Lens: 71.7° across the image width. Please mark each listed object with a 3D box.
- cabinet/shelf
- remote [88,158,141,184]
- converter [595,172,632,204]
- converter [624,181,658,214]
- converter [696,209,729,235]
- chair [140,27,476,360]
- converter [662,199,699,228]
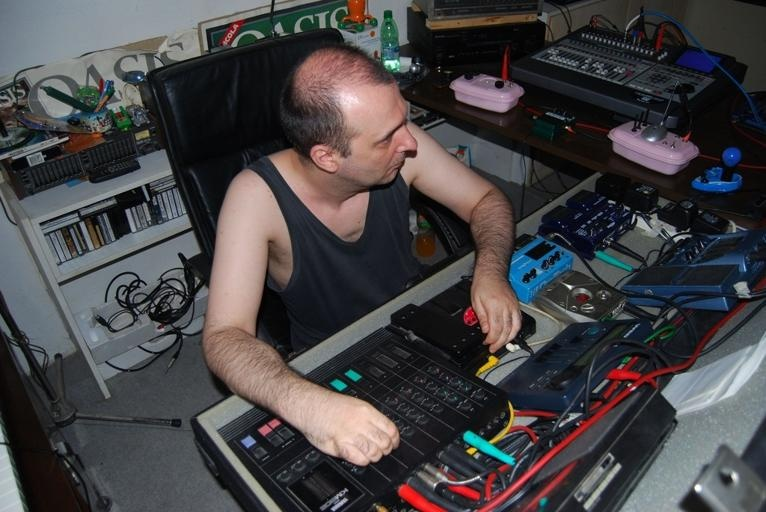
[{"bbox_3d":[-1.467,-0.052,2.794,1.099,1.068,0.551,-17,38,-30],"label":"cabinet/shelf"},{"bbox_3d":[-1.159,-0.372,2.298,0.197,0.044,0.095,-19,48,-21],"label":"remote"},{"bbox_3d":[0.792,-0.227,1.829,0.100,0.055,0.101,24,60,28],"label":"converter"},{"bbox_3d":[0.870,-0.187,1.806,0.093,0.063,0.093,36,78,24],"label":"converter"},{"bbox_3d":[1.038,-0.103,1.675,0.078,0.049,0.079,22,45,27],"label":"converter"},{"bbox_3d":[-0.244,-0.030,1.992,0.843,1.400,0.758,-21,35,-26],"label":"chair"},{"bbox_3d":[0.964,-0.145,1.745,0.098,0.065,0.097,32,59,26],"label":"converter"}]
